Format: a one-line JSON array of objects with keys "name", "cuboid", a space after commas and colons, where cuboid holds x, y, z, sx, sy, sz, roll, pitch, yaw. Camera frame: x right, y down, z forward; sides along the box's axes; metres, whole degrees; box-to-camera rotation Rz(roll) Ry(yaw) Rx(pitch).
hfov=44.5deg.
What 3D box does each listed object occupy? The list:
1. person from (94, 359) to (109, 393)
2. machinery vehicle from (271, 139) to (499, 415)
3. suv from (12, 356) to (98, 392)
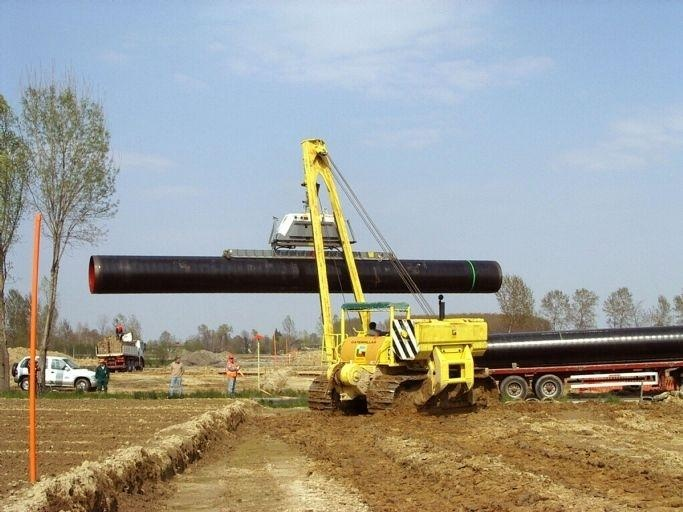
[{"name": "person", "cuboid": [-10.080, 5.130, 35.220, 0.514, 1.428, 2.695, -1, 0, -17]}, {"name": "machinery vehicle", "cuboid": [1.444, 0.786, 25.312, 6.033, 7.742, 4.020, -3, -2, -35]}, {"name": "suv", "cuboid": [-12.413, 5.084, 35.832, 3.670, 1.646, 2.749, -1, 0, 5]}]
